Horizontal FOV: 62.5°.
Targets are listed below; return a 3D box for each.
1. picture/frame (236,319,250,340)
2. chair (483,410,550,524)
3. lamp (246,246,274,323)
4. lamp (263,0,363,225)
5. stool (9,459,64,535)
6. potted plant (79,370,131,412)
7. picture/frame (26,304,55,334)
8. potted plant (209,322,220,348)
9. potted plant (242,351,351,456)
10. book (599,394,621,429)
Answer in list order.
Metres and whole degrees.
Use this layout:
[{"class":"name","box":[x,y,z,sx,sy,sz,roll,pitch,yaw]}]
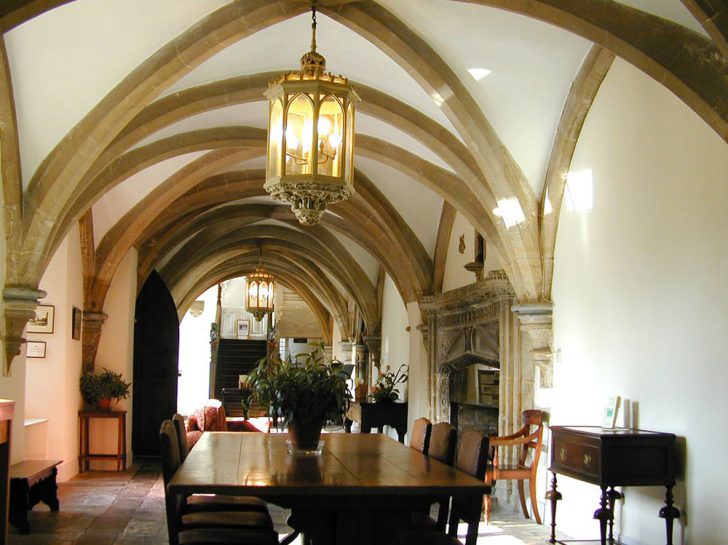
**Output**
[{"class":"picture/frame","box":[-4.307,2.057,21.211,0.671,0.961,0.091,0,-26,-5]},{"class":"chair","box":[1.692,2.159,6.779,0.693,1.215,0.945,1,-12,7]},{"class":"lamp","box":[-2.341,0.429,13.424,0.649,1.213,0.470,5,-12,-12]},{"class":"lamp","box":[-0.398,-0.899,4.244,0.672,1.028,0.333,4,-11,-6]},{"class":"stool","box":[-3.454,2.275,6.121,0.344,0.616,1.223,4,-12,-8]},{"class":"potted plant","box":[-3.922,1.788,9.068,0.559,0.496,0.582,-2,-9,17]},{"class":"picture/frame","box":[-4.141,0.604,7.636,0.446,0.475,0.019,3,-14,-26]},{"class":"potted plant","box":[-5.147,2.133,20.640,0.322,0.841,0.604,5,-12,-13]},{"class":"potted plant","box":[-0.512,0.994,4.606,0.726,0.662,0.748,3,-18,-15]},{"class":"book","box":[2.171,1.229,5.274,0.061,0.247,0.255,11,-1,1]}]
